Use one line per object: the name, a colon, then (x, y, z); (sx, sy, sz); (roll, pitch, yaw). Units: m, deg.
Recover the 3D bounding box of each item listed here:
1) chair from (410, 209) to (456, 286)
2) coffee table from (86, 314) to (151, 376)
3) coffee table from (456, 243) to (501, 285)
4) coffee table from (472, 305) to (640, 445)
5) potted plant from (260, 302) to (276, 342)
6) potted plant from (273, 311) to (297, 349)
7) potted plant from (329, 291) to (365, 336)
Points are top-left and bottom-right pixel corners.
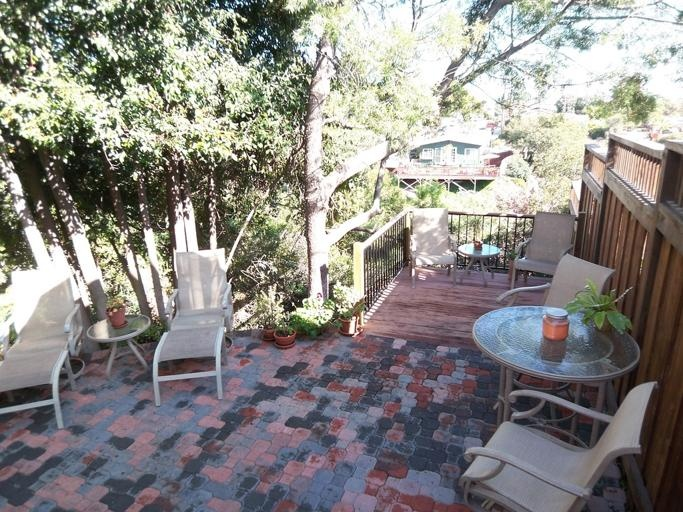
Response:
chair: (1.622, -0.166, 7.484); (0.794, 1.292, 1.030); (0, 14, 11)
coffee table: (-2.877, 1.189, 5.476); (0.791, 0.555, 0.766); (-6, 14, -19)
coffee table: (2.488, 0.105, 7.634); (0.683, 0.508, 0.641); (-14, 24, -26)
coffee table: (1.878, 1.186, 3.891); (1.348, 1.012, 1.370); (4, 18, 15)
potted plant: (-1.006, 0.917, 5.905); (0.248, 0.511, 0.259); (-1, -6, -2)
potted plant: (-0.787, 1.049, 5.741); (0.372, 0.410, 0.373); (2, 15, -16)
potted plant: (-0.001, 0.789, 6.002); (0.585, 0.706, 0.557); (0, 12, -4)
